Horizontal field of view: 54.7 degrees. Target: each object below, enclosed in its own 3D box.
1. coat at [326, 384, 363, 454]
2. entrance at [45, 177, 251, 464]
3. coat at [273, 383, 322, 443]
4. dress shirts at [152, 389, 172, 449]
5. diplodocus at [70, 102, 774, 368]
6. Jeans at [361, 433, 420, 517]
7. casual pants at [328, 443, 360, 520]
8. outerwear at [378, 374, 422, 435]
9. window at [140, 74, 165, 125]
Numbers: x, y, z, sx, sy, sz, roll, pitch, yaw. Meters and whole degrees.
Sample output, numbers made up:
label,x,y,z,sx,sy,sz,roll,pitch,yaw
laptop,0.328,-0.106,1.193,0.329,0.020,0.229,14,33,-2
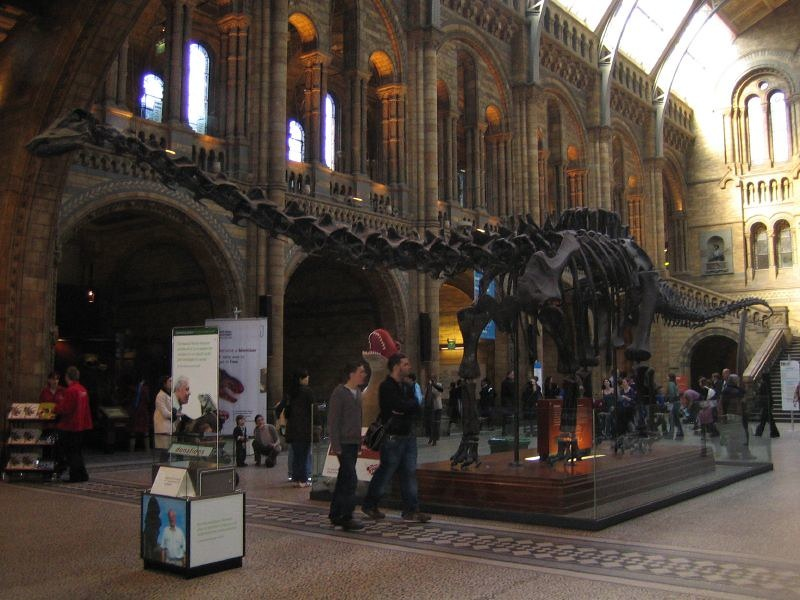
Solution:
label,x,y,z,sx,sy,sz,roll,pitch,yaw
coat,-0.654,1.390,9.233,0.220,0.748,0.512,0,1,45
entrance,-6.545,-0.275,20.309,6.174,7.026,0.463,18,-57,-29
coat,-1.559,1.714,12.086,0.797,0.814,0.412,3,0,40
dress shirts,-3.875,1.933,12.846,0.433,0.956,0.404,1,12,-19
diplodocus,1.088,-0.314,11.335,9.556,2.680,1.958,8,-6,-7
Jeans,-0.113,2.126,9.539,0.663,0.986,0.300,0,1,-4
casual pants,-0.676,2.136,9.148,0.294,0.959,0.289,13,17,29
outerwear,0.036,1.289,9.580,0.591,0.743,0.497,5,4,-19
window,-7.541,-6.193,23.599,0.622,0.047,1.625,5,-46,-15
